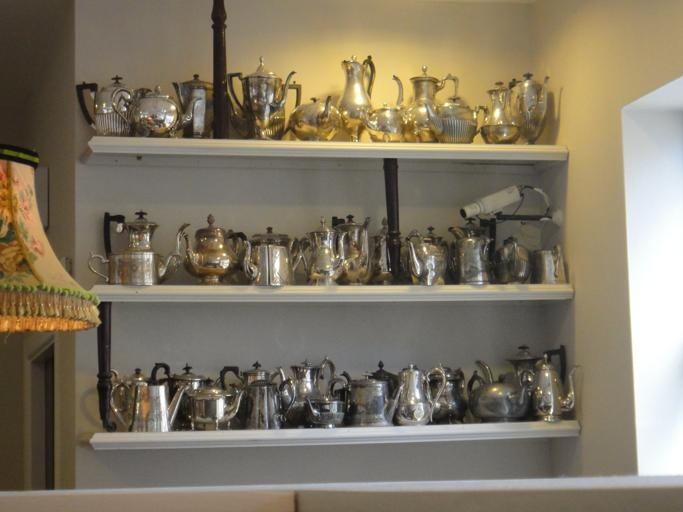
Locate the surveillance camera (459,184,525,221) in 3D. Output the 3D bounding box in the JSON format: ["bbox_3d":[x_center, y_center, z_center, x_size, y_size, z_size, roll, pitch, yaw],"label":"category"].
[{"bbox_3d":[0.634,-0.220,3.778,0.246,0.151,0.190,2,1,-24],"label":"surveillance camera"}]

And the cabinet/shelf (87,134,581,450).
[{"bbox_3d":[0.007,0.114,3.617,2.075,1.218,0.796,3,-4,-19],"label":"cabinet/shelf"}]
